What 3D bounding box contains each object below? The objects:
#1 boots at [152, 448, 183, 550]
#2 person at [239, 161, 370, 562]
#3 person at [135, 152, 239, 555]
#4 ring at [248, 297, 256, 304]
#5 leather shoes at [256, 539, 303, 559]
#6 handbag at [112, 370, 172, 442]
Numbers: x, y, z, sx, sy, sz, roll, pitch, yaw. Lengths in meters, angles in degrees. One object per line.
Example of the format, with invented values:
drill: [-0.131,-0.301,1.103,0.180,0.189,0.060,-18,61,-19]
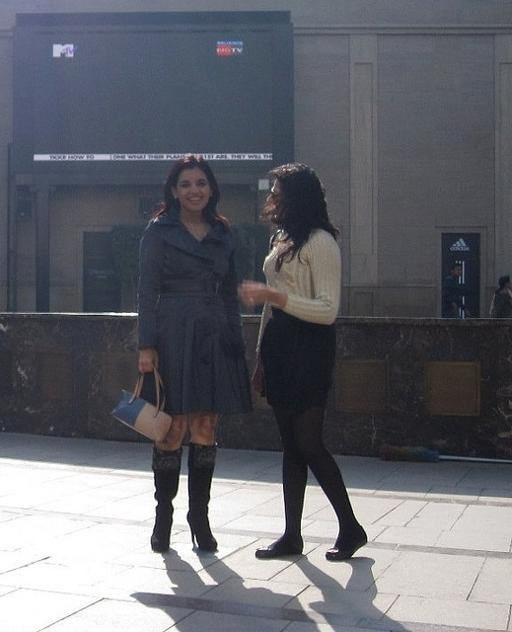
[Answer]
boots: [-0.495,0.970,5.905,0.164,0.518,0.348,-1,6,-4]
person: [0.243,0.214,5.842,0.675,2.048,0.597,0,6,0]
person: [-0.347,0.179,5.958,0.601,2.082,0.592,0,6,-2]
ring: [-0.024,-0.082,5.617,0.034,0.037,0.034,1,0,0]
leather shoes: [0.124,1.219,5.760,0.254,0.110,0.095,2,-7,-8]
handbag: [-0.612,0.490,5.753,0.307,0.403,0.251,-1,6,-7]
